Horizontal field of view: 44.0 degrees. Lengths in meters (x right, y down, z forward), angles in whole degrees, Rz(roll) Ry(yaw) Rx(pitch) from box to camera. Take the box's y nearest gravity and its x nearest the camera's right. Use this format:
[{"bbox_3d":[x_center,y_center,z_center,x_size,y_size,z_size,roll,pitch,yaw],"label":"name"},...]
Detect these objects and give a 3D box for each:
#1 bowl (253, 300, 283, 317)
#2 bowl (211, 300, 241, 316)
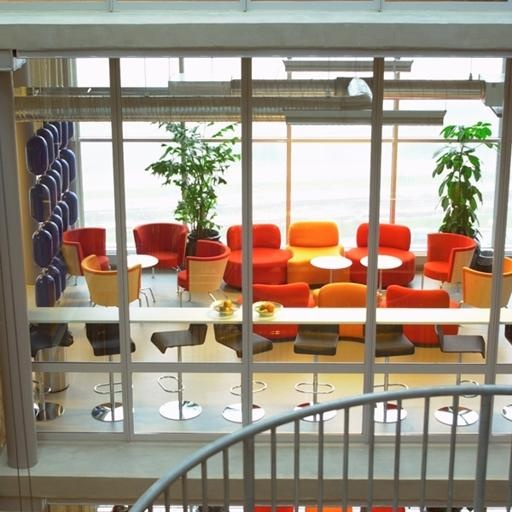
[{"bbox_3d":[0.108,0.516,6.118,0.281,0.112,0.132,3,-43,1],"label":"bowl"},{"bbox_3d":[-0.300,0.503,6.112,0.281,0.127,0.146,7,-43,-4],"label":"bowl"}]
